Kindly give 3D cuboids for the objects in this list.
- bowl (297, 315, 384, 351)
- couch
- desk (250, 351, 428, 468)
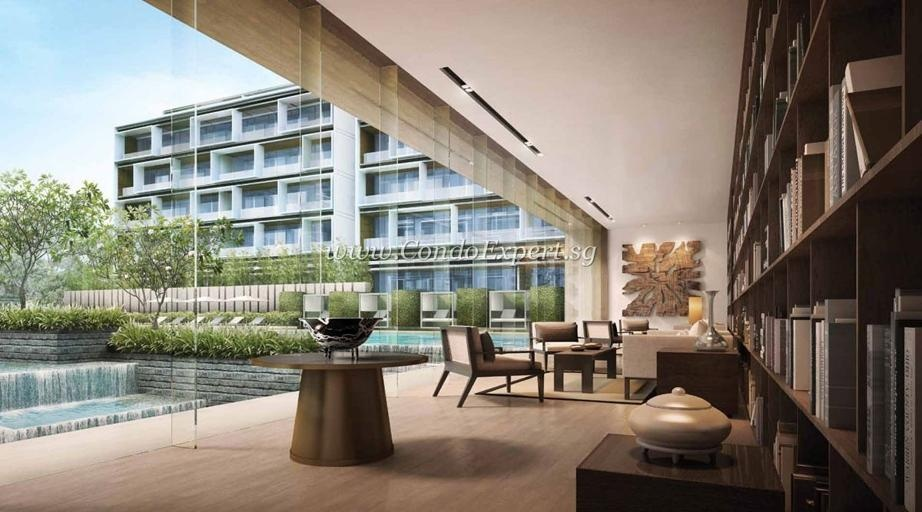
[{"bbox_3d":[-1.075,0.732,5.531,0.814,0.266,0.767,0,-3,0],"label":"bowl"},{"bbox_3d":[2.741,1.581,7.465,1.160,0.892,1.655,-2,-5,33],"label":"couch"},{"bbox_3d":[-1.041,1.345,5.053,1.132,0.920,0.594,1,2,-7],"label":"desk"}]
